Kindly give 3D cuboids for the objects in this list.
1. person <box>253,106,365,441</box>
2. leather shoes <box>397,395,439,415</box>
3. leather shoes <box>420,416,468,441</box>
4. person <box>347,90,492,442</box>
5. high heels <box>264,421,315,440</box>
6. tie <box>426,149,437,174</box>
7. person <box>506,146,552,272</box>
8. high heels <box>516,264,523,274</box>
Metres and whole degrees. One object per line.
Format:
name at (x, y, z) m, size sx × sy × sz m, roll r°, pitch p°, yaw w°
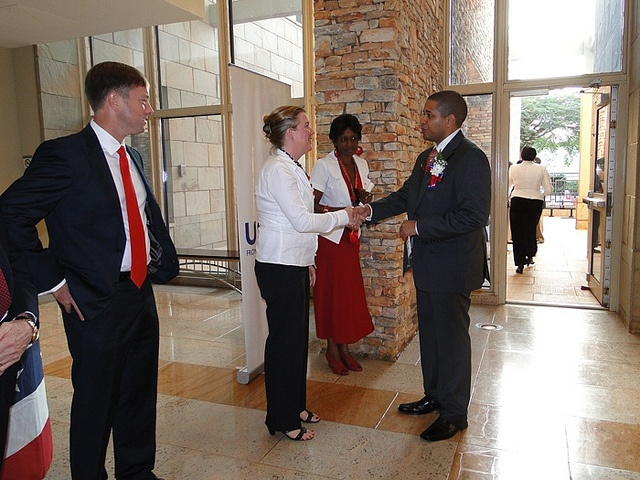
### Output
person at (-0.163, 0.236, 3.100) m, size 0.533 × 2.222 × 0.374 m, roll -4°, pitch 10°, yaw -8°
leather shoes at (0.751, 1.252, 3.496) m, size 0.332 × 0.129 × 0.123 m, roll 1°, pitch 2°, yaw -8°
leather shoes at (0.862, 1.272, 3.199) m, size 0.347 × 0.130 × 0.126 m, roll -9°, pitch 6°, yaw -27°
person at (0.834, 0.170, 3.172) m, size 0.614 × 2.334 × 0.611 m, roll 2°, pitch 11°, yaw 24°
high heels at (-0.208, 1.298, 3.168) m, size 0.272 × 0.076 × 0.122 m, roll -2°, pitch 7°, yaw 8°
tie at (0.780, -0.544, 3.178) m, size 0.048 × 0.054 × 0.217 m, roll 5°, pitch 48°, yaw 21°
person at (3.414, -0.481, 7.542) m, size 0.599 × 2.055 × 0.366 m, roll -2°, pitch 10°, yaw 3°
high heels at (3.335, 0.483, 7.647) m, size 0.065 × 0.090 × 0.207 m, roll -2°, pitch 11°, yaw 7°
